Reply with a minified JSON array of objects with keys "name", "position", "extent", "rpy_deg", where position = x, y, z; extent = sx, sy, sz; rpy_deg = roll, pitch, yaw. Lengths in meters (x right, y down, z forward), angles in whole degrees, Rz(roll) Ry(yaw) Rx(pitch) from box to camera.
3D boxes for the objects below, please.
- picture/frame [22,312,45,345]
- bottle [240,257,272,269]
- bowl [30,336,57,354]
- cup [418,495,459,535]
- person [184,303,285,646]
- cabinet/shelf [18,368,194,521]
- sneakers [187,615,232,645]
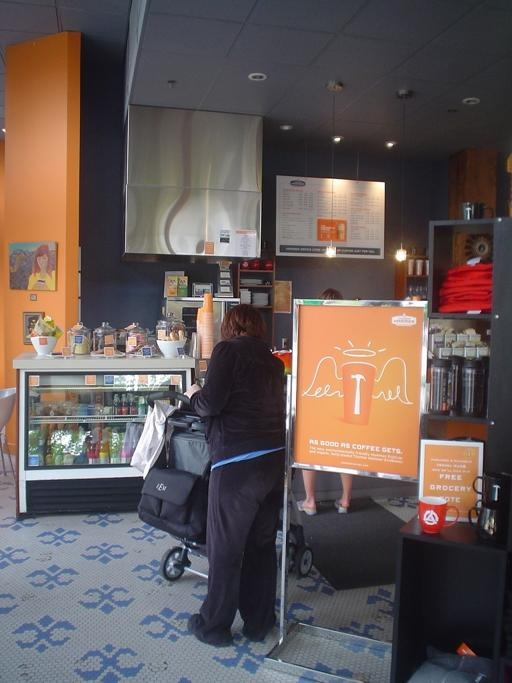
[{"name":"picture/frame","position":[-1.911,-0.132,4.736],"extent":[0.309,0.449,0.018],"rpy_deg":[0,-3,27]},{"name":"bottle","position":[0.003,-0.842,6.066],"extent":[0.351,0.142,0.164],"rpy_deg":[1,1,-1]},{"name":"bowl","position":[-1.522,0.031,3.947],"extent":[0.160,0.137,0.199],"rpy_deg":[0,1,-24]},{"name":"cup","position":[0.604,0.582,1.845],"extent":[0.106,0.113,0.155],"rpy_deg":[2,1,33]},{"name":"person","position":[-0.080,0.549,2.321],"extent":[0.396,1.409,0.317],"rpy_deg":[1,1,2]},{"name":"cabinet/shelf","position":[-0.973,0.663,3.448],"extent":[0.949,0.937,0.402],"rpy_deg":[0,-4,-10]},{"name":"sneakers","position":[-0.189,1.182,2.301],"extent":[0.094,0.052,0.137],"rpy_deg":[7,2,11]}]
